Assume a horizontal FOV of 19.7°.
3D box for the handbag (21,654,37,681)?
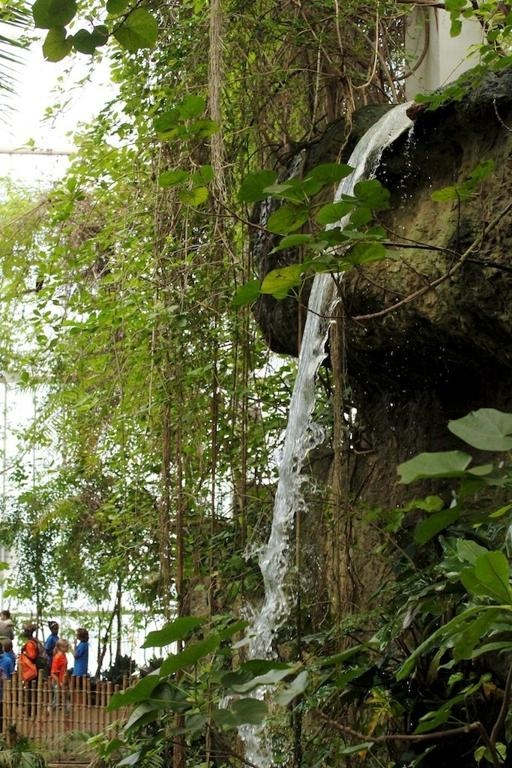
[{"bbox_3d":[-1.529,1.890,9.828,0.078,0.119,0.142,27,14,-15],"label":"handbag"}]
